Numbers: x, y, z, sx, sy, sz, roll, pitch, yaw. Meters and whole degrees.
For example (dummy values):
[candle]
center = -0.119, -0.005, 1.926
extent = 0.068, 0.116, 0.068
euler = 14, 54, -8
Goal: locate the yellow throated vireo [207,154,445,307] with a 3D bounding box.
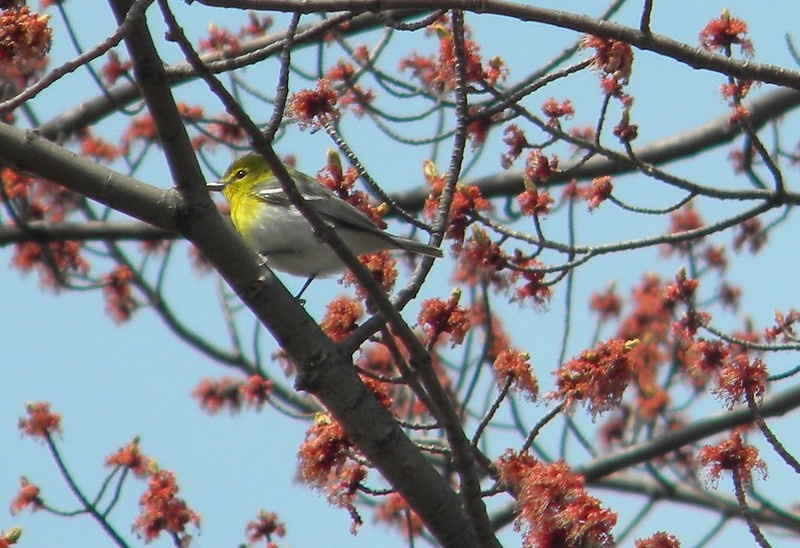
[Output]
[yellow throated vireo]
center = -0.562, -0.409, 13.470
extent = 1.894, 1.080, 0.600
euler = 2, -32, 7
